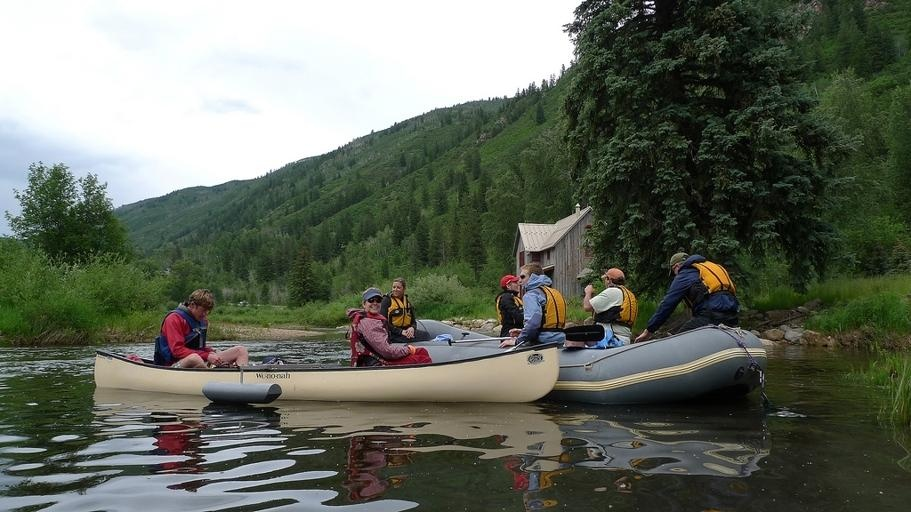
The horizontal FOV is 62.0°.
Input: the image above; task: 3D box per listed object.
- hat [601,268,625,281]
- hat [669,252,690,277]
[{"bbox_3d":[5.784,0.617,27.691,0.461,0.336,0.595,6,4,-29],"label":"hat"},{"bbox_3d":[8.011,0.265,27.933,0.719,0.536,1.026,-24,-12,-21],"label":"hat"}]
